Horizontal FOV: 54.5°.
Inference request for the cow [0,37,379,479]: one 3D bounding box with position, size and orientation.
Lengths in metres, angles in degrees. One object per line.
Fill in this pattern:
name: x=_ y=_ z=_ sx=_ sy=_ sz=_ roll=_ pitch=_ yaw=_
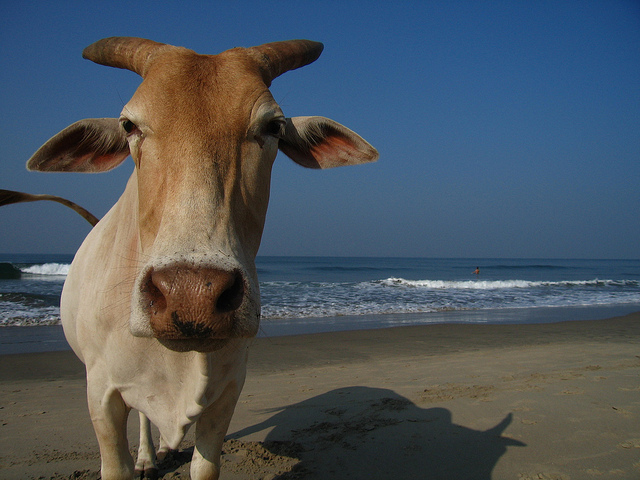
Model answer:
cow: x=-1.735 y=0.414 z=6.807 sx=4.098 sy=4.973 sz=2.600 roll=4 pitch=4 yaw=40
